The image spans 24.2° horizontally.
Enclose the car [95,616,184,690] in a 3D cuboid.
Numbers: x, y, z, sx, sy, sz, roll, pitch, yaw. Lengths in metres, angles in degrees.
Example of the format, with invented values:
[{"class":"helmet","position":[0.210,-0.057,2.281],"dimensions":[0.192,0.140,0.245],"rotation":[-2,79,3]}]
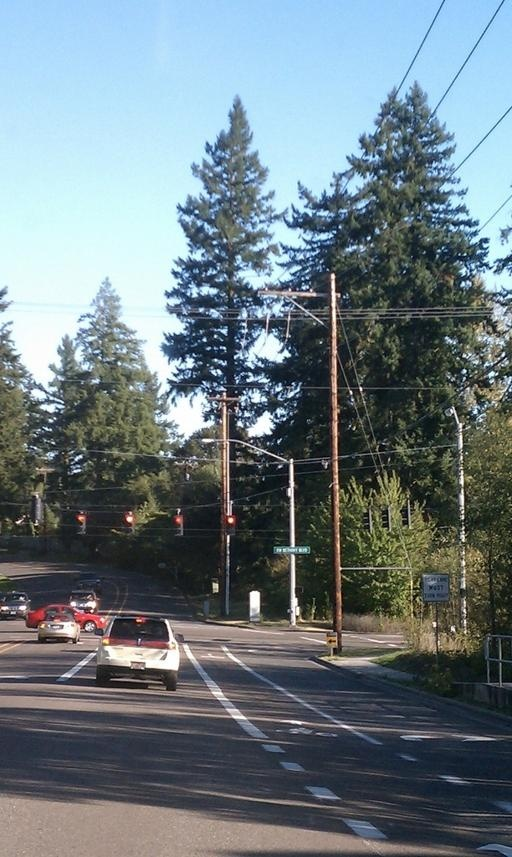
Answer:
[{"class":"car","position":[-2.146,3.955,21.713],"dimensions":[0.837,0.850,1.848],"rotation":[2,3,-3]}]
